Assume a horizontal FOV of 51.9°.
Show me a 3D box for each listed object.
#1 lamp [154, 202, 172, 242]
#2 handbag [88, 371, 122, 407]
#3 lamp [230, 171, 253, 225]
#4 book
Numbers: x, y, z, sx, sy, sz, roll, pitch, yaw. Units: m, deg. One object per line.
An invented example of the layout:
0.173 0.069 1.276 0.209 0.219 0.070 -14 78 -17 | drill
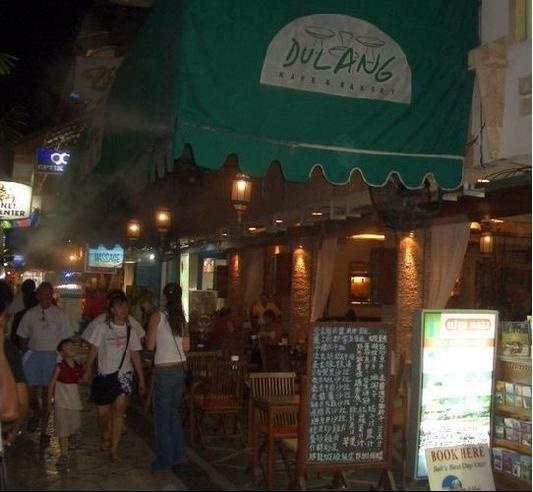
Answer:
-1.892 -0.427 10.056 0.304 0.550 0.708 2 -3 -11 | lamp
-1.869 1.660 6.404 0.355 0.404 0.162 2 -3 -13 | handbag
-0.370 -0.764 8.000 0.282 0.570 0.513 1 -3 -4 | lamp
2.534 1.888 5.656 0.450 0.911 0.335 -2 -4 43 | book
